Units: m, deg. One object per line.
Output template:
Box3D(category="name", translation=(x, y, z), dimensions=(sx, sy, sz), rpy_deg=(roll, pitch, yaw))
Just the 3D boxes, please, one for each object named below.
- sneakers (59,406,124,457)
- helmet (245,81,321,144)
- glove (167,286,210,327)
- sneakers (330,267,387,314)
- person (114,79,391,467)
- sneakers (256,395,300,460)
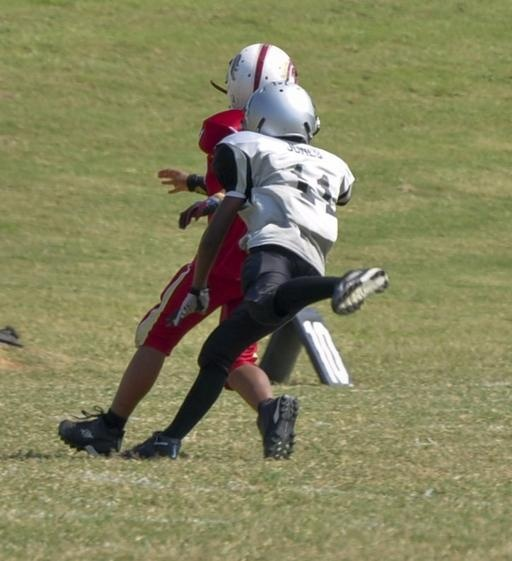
Box3D(category="sneakers", translation=(-0.640, 0.594, 3.990), dimensions=(0.285, 0.154, 0.093), rpy_deg=(21, 11, 26))
Box3D(category="helmet", translation=(0.125, -0.604, 3.958), dimensions=(0.317, 0.262, 0.322), rpy_deg=(0, 2, -5))
Box3D(category="glove", translation=(-0.239, 0.087, 3.873), dimensions=(0.076, 0.230, 0.092), rpy_deg=(42, 22, -20))
Box3D(category="sneakers", translation=(0.341, 0.024, 3.466), dimensions=(0.263, 0.087, 0.116), rpy_deg=(-22, 27, -32))
Box3D(category="person", translation=(0.037, 0.025, 3.722), dimensions=(0.556, 1.520, 0.796), rpy_deg=(7, 14, -29))
Box3D(category="sneakers", translation=(0.060, 0.539, 3.897), dimensions=(0.134, 0.267, 0.161), rpy_deg=(-7, 17, -25))
